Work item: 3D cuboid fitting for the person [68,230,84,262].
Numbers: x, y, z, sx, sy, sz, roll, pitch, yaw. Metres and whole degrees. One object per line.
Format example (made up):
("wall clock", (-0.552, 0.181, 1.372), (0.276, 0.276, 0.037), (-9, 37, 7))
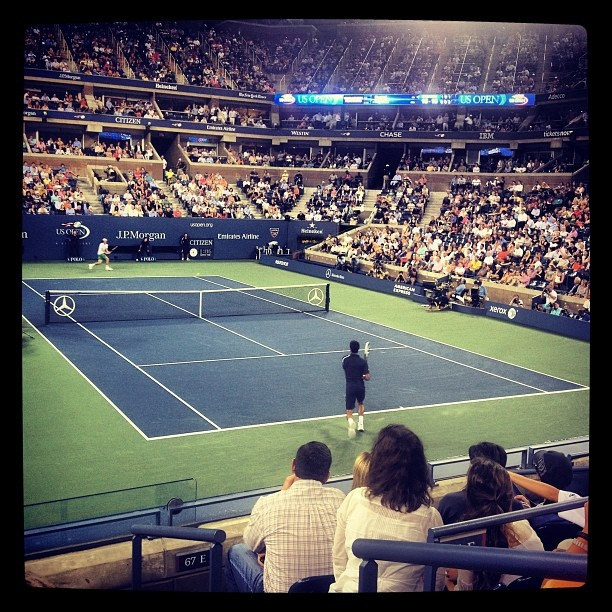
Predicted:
("person", (-12.157, -3.228, 35.077), (0.653, 1.686, 0.773), (1, 9, -6))

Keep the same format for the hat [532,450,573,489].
("hat", (1.950, 1.300, 5.252), (0.242, 0.375, 0.339), (5, 9, 18))

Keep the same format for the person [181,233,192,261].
("person", (-6.869, -3.433, 38.170), (0.629, 1.573, 0.497), (-3, 10, -29))

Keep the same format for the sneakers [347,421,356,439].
("sneakers", (0.797, 2.152, 11.607), (0.101, 0.332, 0.133), (3, 2, -6))

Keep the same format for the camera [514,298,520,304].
("camera", (7.490, -0.199, 23.743), (0.129, 0.155, 0.421), (8, 7, 6))
